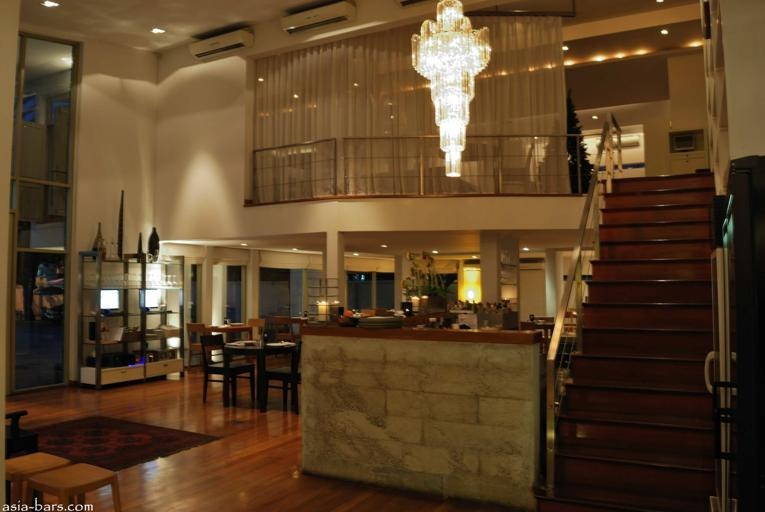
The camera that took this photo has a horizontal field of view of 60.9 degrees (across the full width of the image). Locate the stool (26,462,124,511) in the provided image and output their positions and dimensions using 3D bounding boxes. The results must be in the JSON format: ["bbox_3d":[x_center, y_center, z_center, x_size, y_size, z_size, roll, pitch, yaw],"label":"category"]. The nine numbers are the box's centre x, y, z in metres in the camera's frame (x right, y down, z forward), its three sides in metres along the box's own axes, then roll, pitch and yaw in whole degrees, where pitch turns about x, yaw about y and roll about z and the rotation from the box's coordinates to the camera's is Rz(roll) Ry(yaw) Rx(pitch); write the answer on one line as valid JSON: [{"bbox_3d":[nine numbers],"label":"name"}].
[{"bbox_3d":[-2.677,2.006,5.553,0.765,0.385,0.472,1,2,24],"label":"stool"}]

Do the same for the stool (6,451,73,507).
[{"bbox_3d":[-3.113,1.876,5.755,0.466,0.355,0.478,3,1,18],"label":"stool"}]

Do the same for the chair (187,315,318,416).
[{"bbox_3d":[-2.153,1.776,10.416,1.180,0.888,1.854,1,-1,15],"label":"chair"}]

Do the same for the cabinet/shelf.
[{"bbox_3d":[-4.499,1.165,11.505,0.753,2.780,2.264,-3,-4,30],"label":"cabinet/shelf"}]

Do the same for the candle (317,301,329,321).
[{"bbox_3d":[-0.672,0.618,7.324,0.132,0.202,0.174,-1,2,-20],"label":"candle"}]
